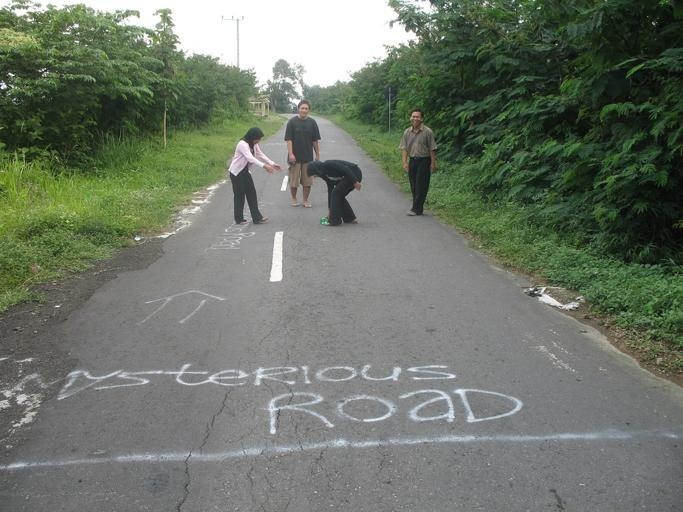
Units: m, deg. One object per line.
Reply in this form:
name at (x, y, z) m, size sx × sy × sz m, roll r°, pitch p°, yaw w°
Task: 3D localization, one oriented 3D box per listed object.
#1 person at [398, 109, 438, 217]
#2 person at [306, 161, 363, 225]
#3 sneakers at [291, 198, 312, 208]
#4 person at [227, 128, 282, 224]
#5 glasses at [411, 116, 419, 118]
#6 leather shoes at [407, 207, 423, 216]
person at (1.497, -1.854, 11.945) m, size 0.697 × 2.071 × 0.797 m, roll 5°, pitch 20°, yaw 6°
person at (-0.210, -1.268, 11.678) m, size 1.214 × 1.561 × 0.919 m, roll 1°, pitch 3°, yaw 4°
sneakers at (-0.872, -1.124, 12.855) m, size 0.558 × 0.257 × 0.175 m, roll 2°, pitch 11°, yaw 35°
person at (-1.677, -1.475, 11.127) m, size 0.763 × 1.749 × 1.070 m, roll -1°, pitch 20°, yaw -11°
glasses at (1.430, -2.644, 11.490) m, size 0.122 × 0.072 × 0.066 m, roll 8°, pitch 21°, yaw 12°
leather shoes at (1.496, -0.896, 12.020) m, size 0.321 × 0.142 × 0.121 m, roll 2°, pitch 11°, yaw -24°
